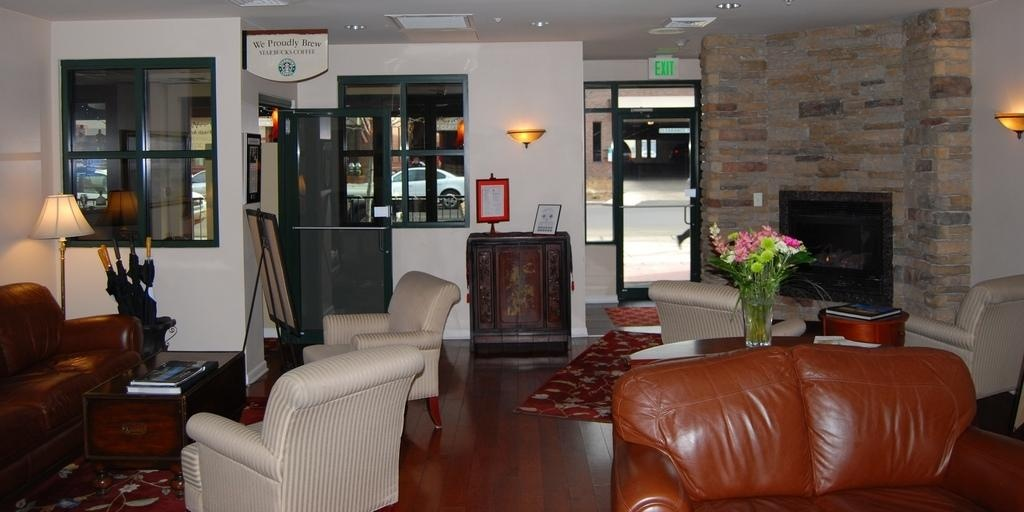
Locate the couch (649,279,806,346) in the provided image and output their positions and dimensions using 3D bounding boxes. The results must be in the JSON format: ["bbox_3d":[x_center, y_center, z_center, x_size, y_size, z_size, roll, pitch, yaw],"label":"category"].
[{"bbox_3d":[2.395,0.759,8.070,0.955,0.999,1.187,-1,6,43],"label":"couch"}]

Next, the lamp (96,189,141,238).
[{"bbox_3d":[-5.375,-0.577,9.002,0.640,0.665,0.552,5,14,-9],"label":"lamp"}]

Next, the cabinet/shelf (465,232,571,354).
[{"bbox_3d":[0.093,0.519,9.721,2.228,2.001,0.954,-1,3,-3],"label":"cabinet/shelf"}]

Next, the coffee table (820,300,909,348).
[{"bbox_3d":[4.046,0.912,7.689,0.823,0.505,0.860,2,2,30],"label":"coffee table"}]
